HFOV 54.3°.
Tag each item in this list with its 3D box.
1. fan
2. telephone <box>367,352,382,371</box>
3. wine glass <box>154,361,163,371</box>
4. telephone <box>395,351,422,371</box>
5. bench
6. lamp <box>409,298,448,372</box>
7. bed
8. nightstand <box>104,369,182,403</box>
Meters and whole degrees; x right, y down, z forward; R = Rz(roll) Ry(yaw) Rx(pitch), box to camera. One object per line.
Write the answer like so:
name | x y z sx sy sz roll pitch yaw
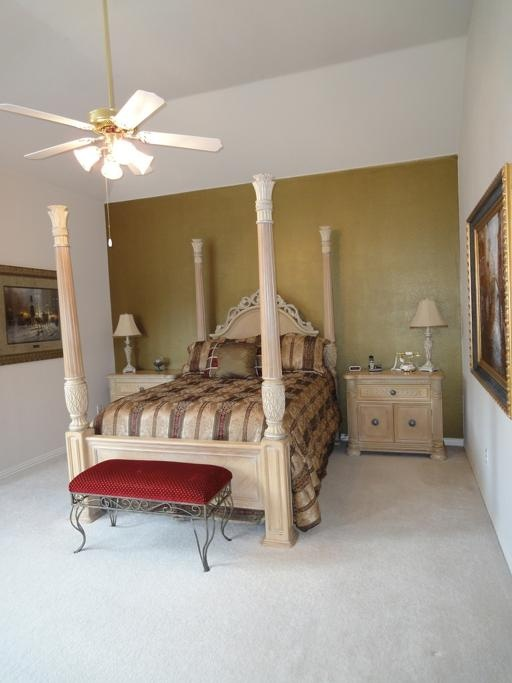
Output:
fan | -1.027 -1.821 3.461 1.068 1.291 1.091 -1 18 -1
telephone | 1.187 0.219 5.024 0.119 0.200 0.171 -3 1 -9
wine glass | -1.153 0.279 5.920 0.103 0.106 0.105 -2 7 -12
telephone | 1.524 0.197 4.987 0.150 0.209 0.281 -1 1 -41
bench | -0.632 1.004 3.073 1.036 0.416 0.554 -2 2 24
lamp | 1.662 -0.083 4.788 0.322 0.702 0.471 -2 2 19
bed | -0.474 -0.098 4.688 2.174 2.645 3.184 0 7 17
nightstand | -1.346 0.451 5.692 0.608 0.619 0.405 0 2 15
